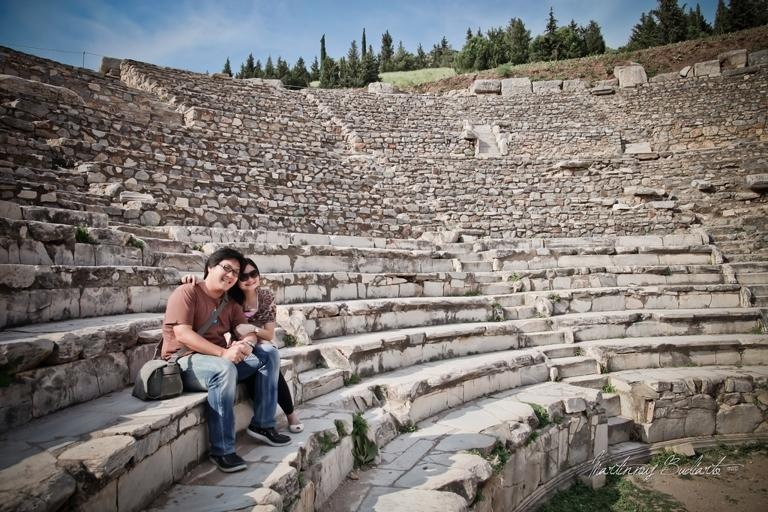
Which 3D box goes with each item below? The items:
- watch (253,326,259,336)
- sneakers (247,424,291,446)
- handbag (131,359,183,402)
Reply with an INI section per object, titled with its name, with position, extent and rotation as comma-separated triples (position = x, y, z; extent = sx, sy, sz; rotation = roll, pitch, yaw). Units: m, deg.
[watch]
position = -1.583, 0.925, 6.205
extent = 0.061, 0.076, 0.024
rotation = 4, -4, -28
[sneakers]
position = -1.365, 2.107, 6.040
extent = 0.549, 0.202, 0.196
rotation = 9, 1, 7
[handbag]
position = -2.580, 1.405, 5.756
extent = 0.481, 0.381, 0.459
rotation = 1, -8, -7
